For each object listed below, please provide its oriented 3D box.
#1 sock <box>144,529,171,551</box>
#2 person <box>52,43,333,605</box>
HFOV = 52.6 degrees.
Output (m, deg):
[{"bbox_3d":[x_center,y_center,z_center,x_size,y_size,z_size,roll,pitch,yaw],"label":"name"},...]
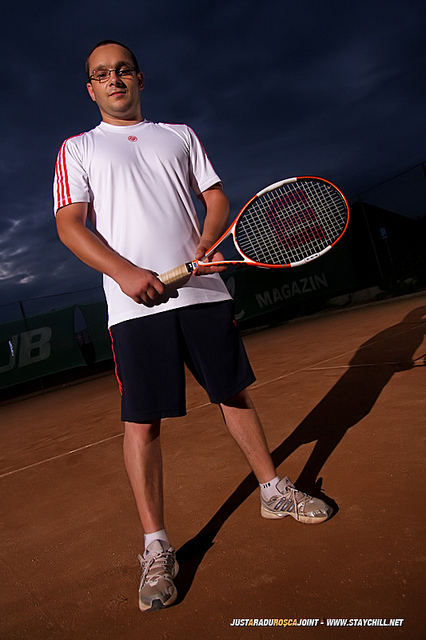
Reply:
[{"bbox_3d":[-0.182,0.702,1.378,0.057,0.066,0.155,3,-26,-8],"label":"sock"},{"bbox_3d":[-0.180,-0.124,1.546,0.624,1.944,0.623,-14,0,-4],"label":"person"}]
